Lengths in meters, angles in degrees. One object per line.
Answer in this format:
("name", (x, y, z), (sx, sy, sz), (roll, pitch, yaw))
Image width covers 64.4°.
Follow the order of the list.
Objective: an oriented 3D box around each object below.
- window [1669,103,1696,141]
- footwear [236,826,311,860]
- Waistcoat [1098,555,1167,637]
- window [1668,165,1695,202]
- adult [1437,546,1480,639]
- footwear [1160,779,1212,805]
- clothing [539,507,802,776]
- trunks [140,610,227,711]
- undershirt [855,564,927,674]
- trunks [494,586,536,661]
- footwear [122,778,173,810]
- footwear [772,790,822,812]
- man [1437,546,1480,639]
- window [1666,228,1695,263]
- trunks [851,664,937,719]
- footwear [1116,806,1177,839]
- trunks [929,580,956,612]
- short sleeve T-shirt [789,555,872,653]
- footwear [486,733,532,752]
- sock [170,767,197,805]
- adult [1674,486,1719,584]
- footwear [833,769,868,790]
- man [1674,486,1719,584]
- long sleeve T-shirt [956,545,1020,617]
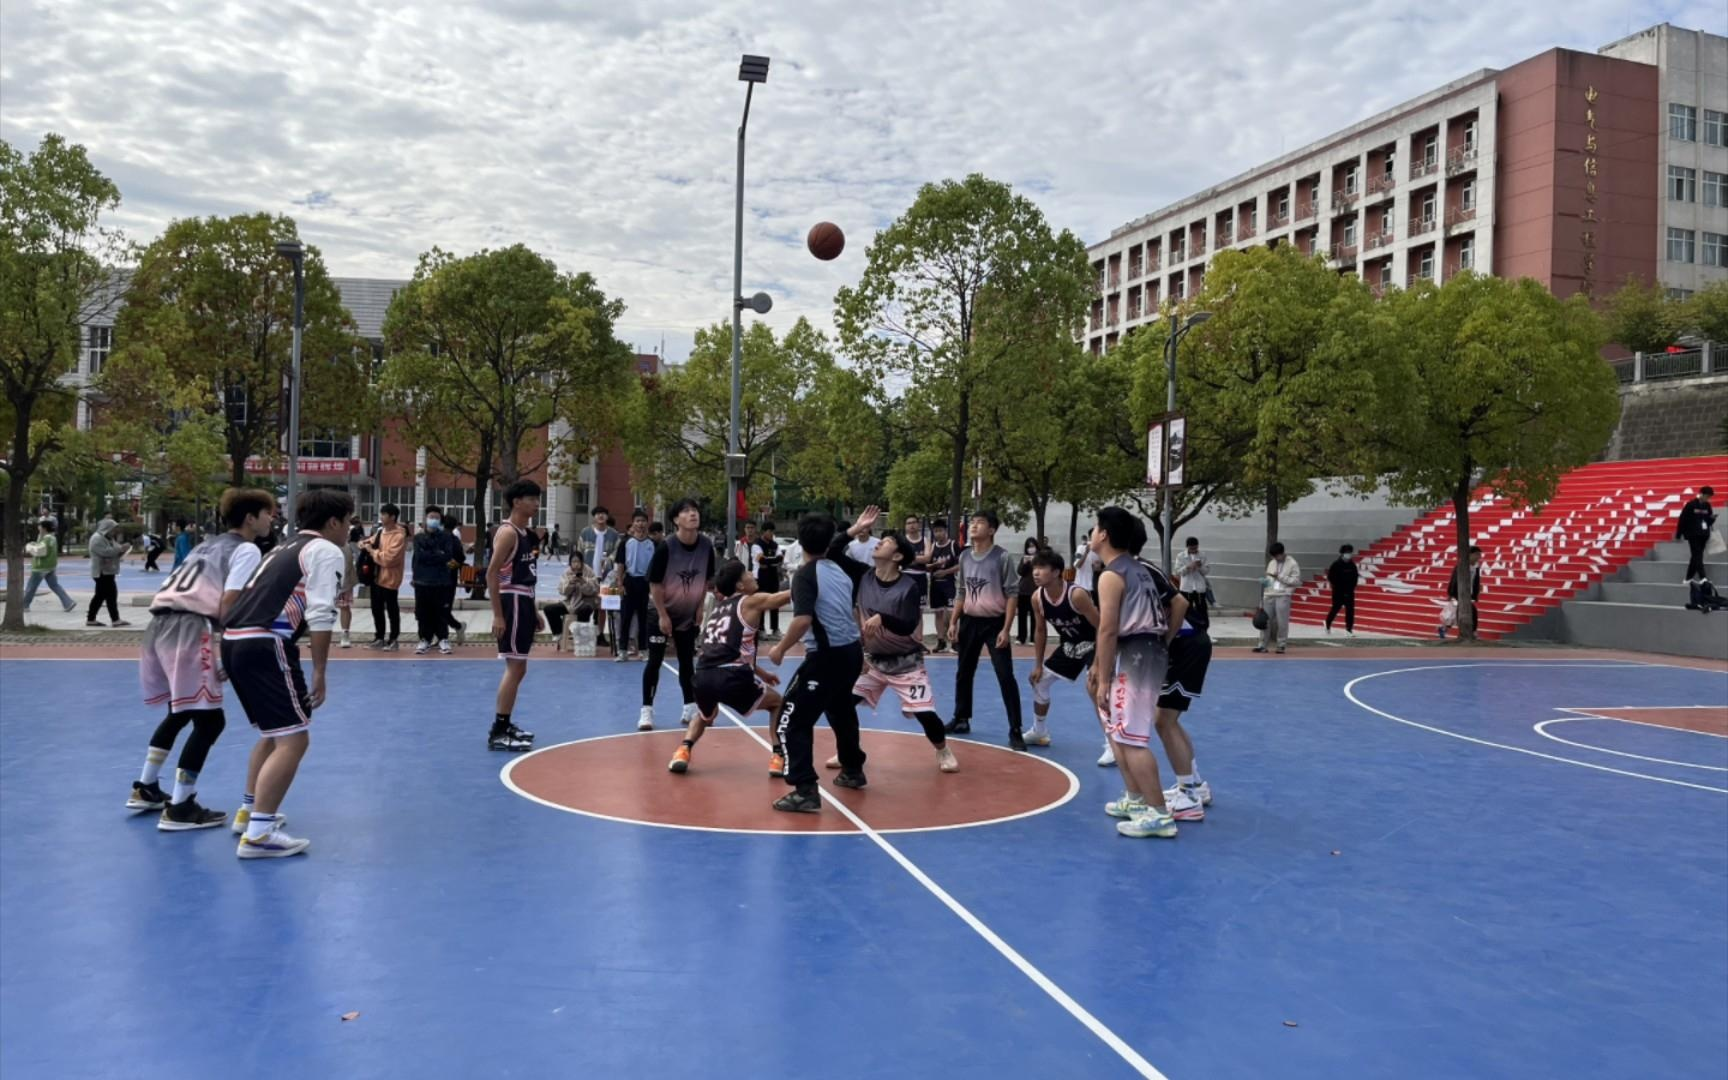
("window", (30.520, -15.710, 51.267), (1.580, 1.535, 0.110), (0, 8, -5))
("footwear", (-6.167, 3.180, 14.482), (0.759, 0.347, 0.294), (0, 1, -14))
("Waistcoat", (2.990, 0.757, 15.423), (0.598, 1.033, 0.909), (-16, -12, 38))
("window", (30.639, -13.476, 51.532), (1.531, 1.486, 0.119), (0, 7, -4))
("adult", (13.460, 1.171, 30.818), (0.791, 1.932, 0.501), (6, 4, 14))
("footwear", (3.754, 2.938, 15.893), (0.747, 0.310, 0.258), (1, -6, -10))
("clothing", (-2.800, 1.544, 19.664), (3.271, 4.307, 1.860), (3, 21, -1))
("trunks", (-7.550, 1.315, 15.222), (1.132, 1.043, 0.615), (5, 4, 32))
("undershirt", (0.318, 1.012, 17.147), (0.893, 1.250, 0.881), (11, 20, 39))
("trunks", (-4.322, 1.074, 17.146), (0.451, 0.870, 0.266), (1, -2, -20))
("footwear", (-7.953, 2.865, 15.294), (0.691, 0.308, 0.267), (2, 0, -18))
("footwear", (-0.756, 2.969, 15.590), (0.548, 0.240, 0.216), (3, -6, 3))
("man", (13.464, 1.188, 31.095), (0.860, 2.123, 1.973), (-1, -2, 21))
("window", (30.609, -11.097, 51.557), (1.458, 1.412, 0.110), (1, 4, -15))
("trunks", (0.347, 1.931, 17.354), (1.033, 0.733, 0.398), (1, -3, 24))
("footwear", (3.070, 3.144, 15.248), (0.745, 0.347, 0.284), (1, -2, 3))
("trunks", (1.230, 0.900, 22.000), (0.463, 0.612, 0.329), (-1, 17, -13))
("short sleeve T-shirt", (-0.424, 0.732, 15.952), (0.669, 1.048, 1.141), (-8, 2, 33))
("footwear", (-4.458, 2.552, 17.355), (0.614, 0.274, 0.216), (-1, 3, -3))
("sock", (-7.395, 2.680, 14.940), (0.227, 0.379, 0.344), (1, -2, -28))
("adult", (17.398, -0.138, 28.693), (0.649, 1.991, 1.514), (-1, -2, 31))
("footwear", (-0.161, 2.843, 16.210), (0.433, 0.300, 0.167), (6, 2, 22))
("man", (17.391, -0.137, 28.719), (0.642, 1.991, 1.628), (-1, -2, 30))
("long sleeve T-shirt", (1.610, 0.567, 18.202), (0.950, 0.961, 0.528), (-2, 4, 39))
